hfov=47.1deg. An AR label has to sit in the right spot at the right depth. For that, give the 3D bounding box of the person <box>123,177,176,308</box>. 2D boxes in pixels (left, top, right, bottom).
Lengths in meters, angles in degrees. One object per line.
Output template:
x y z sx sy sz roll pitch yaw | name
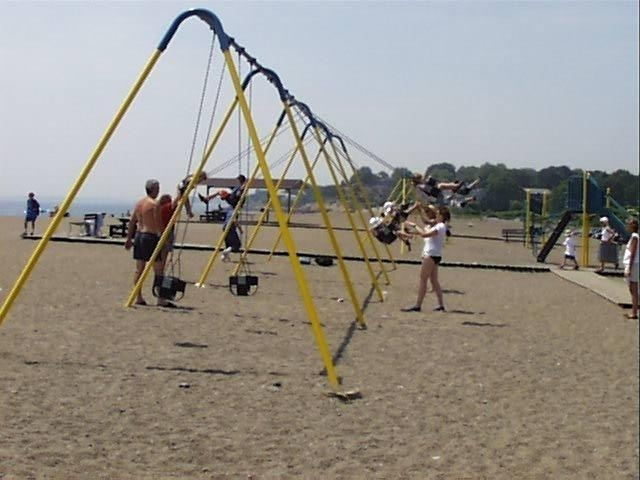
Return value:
-2.807 0.069 12.018 0.708 2.053 1.566 1 5 -14 | person

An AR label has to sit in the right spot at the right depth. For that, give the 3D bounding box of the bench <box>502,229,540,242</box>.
10.437 -0.290 39.363 1.967 0.731 0.697 2 4 4 | bench

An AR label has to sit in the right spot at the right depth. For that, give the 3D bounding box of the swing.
0.841 -0.685 12.671 4.302 1.992 4.219 1 6 -8 | swing

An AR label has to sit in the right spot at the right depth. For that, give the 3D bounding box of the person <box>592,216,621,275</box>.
7.780 0.131 19.987 0.511 1.480 0.595 -7 17 -5 | person
